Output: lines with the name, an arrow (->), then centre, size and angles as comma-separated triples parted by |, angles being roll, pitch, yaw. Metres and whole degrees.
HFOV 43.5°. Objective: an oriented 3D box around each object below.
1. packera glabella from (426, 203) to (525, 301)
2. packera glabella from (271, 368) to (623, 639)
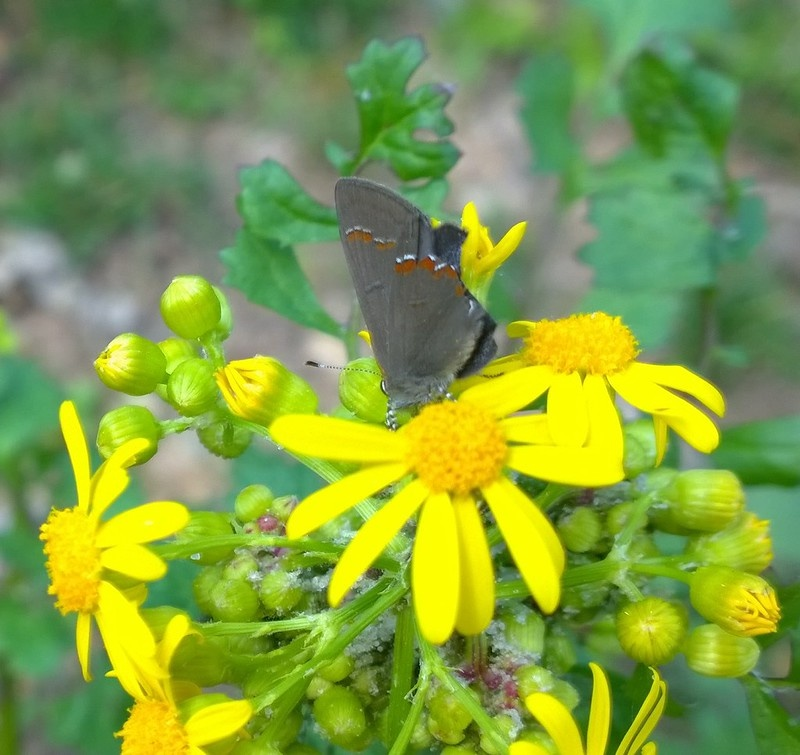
packera glabella -> 0.110, -0.213, 1.536 | 0.164, 0.112, 0.076 | 0, 101, -37
packera glabella -> 0.072, 0.157, 1.351 | 0.344, 0.109, 0.355 | 29, 67, 28
